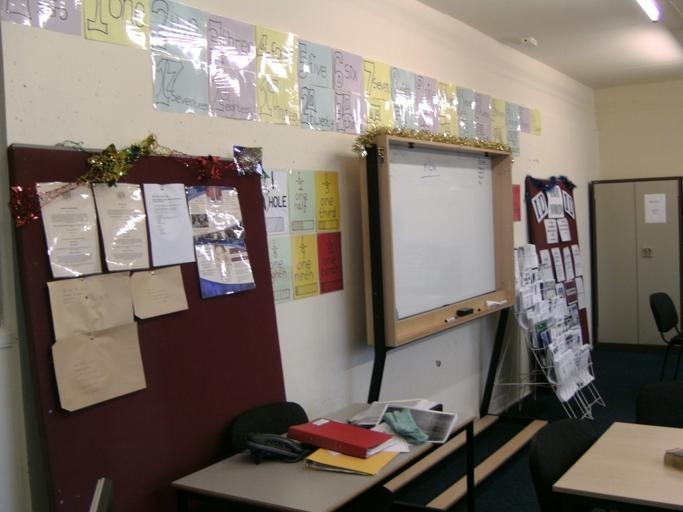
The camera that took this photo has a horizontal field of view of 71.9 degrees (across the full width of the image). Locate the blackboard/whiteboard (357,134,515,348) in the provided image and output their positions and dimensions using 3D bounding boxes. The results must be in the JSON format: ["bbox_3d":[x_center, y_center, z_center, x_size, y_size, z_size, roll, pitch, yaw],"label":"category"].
[{"bbox_3d":[0.672,-0.145,3.428,0.235,1.500,1.718,0,3,43],"label":"blackboard/whiteboard"}]

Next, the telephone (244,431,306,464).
[{"bbox_3d":[-0.293,0.850,2.100,0.185,0.073,0.135,-5,-9,9],"label":"telephone"}]

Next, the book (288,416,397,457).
[{"bbox_3d":[-0.008,0.816,2.112,0.251,0.047,0.184,5,5,32],"label":"book"}]
